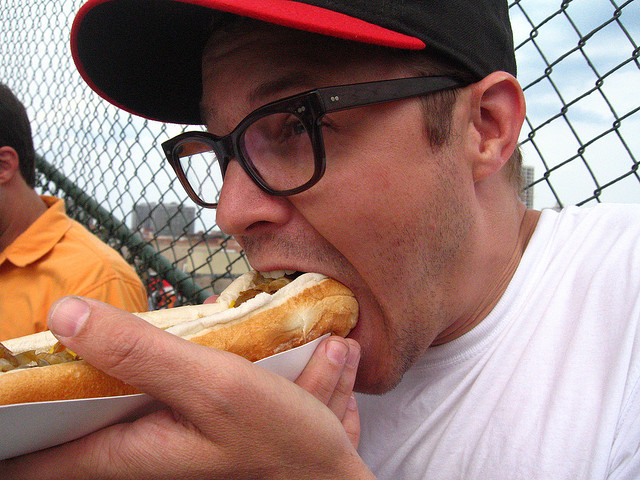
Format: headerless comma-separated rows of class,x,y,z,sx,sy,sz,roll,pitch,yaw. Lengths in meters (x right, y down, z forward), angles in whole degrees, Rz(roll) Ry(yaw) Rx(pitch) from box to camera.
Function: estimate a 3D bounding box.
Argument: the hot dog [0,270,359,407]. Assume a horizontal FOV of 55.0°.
hot dog,-0.433,0.276,2.078,1.169,0.286,0.397,-13,31,-24
